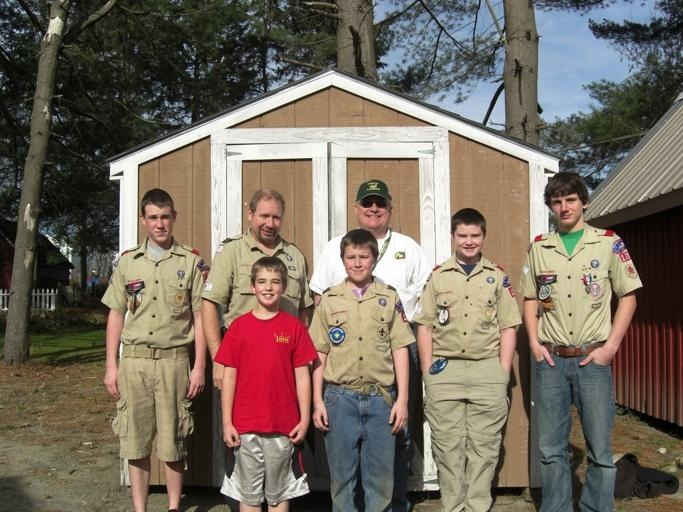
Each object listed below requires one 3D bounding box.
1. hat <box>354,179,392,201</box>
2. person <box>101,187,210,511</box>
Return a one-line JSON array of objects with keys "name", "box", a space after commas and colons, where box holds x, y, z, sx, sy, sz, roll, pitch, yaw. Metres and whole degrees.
[{"name": "hat", "box": [0.298, -0.620, 7.467, 0.313, 0.218, 0.173, 2, -2, 2]}, {"name": "person", "box": [-1.788, 0.922, 7.443, 0.959, 3.104, 0.412, 2, -2, -13]}]
